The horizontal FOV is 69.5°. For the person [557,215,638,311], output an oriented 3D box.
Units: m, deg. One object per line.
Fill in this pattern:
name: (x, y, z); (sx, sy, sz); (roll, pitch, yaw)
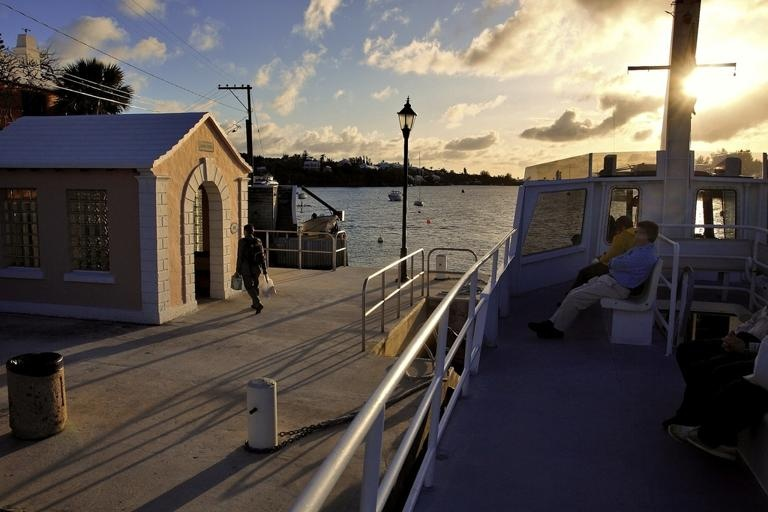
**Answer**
person: (4.297, 0.155, 10.933); (1.098, 2.085, 0.731); (16, 0, 32)

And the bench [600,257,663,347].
bench: (4.635, 0.599, 9.862); (1.046, 1.528, 1.900); (-2, 9, 38)

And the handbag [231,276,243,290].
handbag: (-3.981, 0.725, 14.976); (0.360, 0.360, 0.218); (14, 46, 2)

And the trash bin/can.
trash bin/can: (-5.694, 2.276, 9.045); (0.830, 1.316, 0.529); (-7, 13, -25)

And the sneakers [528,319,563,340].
sneakers: (2.801, 1.265, 9.609); (0.522, 0.222, 0.299); (6, 12, -1)
